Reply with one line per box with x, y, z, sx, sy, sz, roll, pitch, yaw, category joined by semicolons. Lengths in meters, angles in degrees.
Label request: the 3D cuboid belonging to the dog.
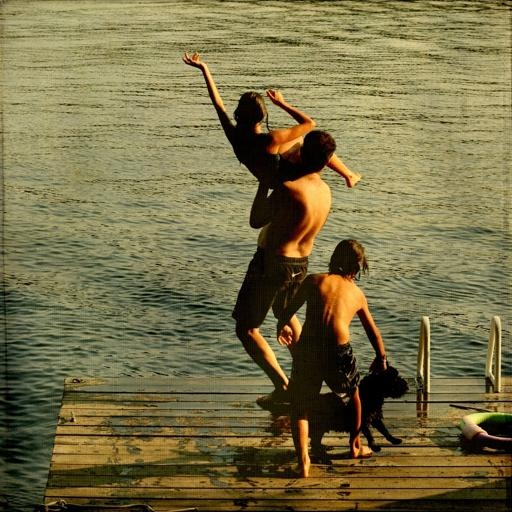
1.609;2.490;26.540;0.878;1.346;2.207;18;-26;-39;dog

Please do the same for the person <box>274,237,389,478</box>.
1.118;1.651;25.966;1.535;3.751;0.805;0;8;0;person
